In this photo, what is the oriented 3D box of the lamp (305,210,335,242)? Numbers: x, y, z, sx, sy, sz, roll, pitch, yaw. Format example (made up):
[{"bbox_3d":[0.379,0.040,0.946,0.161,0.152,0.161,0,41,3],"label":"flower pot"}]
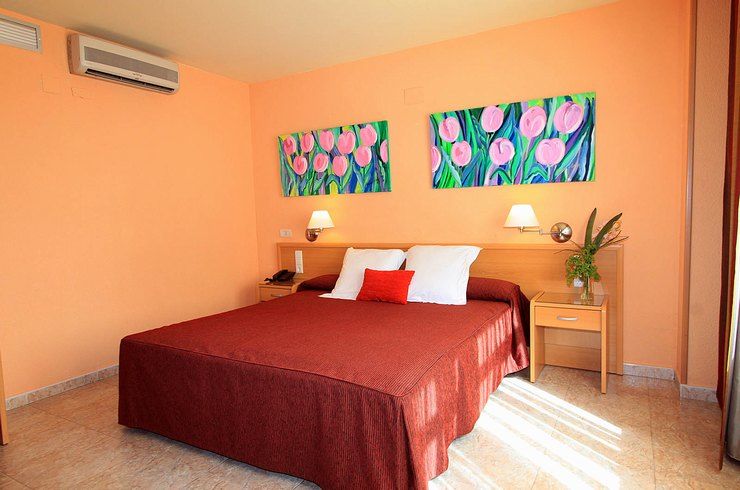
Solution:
[{"bbox_3d":[-0.633,-0.230,5.613,0.398,0.398,0.281,1,5,10],"label":"lamp"}]

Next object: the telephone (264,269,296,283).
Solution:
[{"bbox_3d":[-1.091,0.364,5.757,0.200,0.101,0.264,-2,-1,15],"label":"telephone"}]

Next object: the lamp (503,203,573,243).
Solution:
[{"bbox_3d":[1.599,-0.203,4.519,0.675,0.349,0.316,4,-5,-33],"label":"lamp"}]

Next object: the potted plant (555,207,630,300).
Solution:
[{"bbox_3d":[2.050,0.046,4.572,0.778,0.834,0.806,5,8,40],"label":"potted plant"}]
